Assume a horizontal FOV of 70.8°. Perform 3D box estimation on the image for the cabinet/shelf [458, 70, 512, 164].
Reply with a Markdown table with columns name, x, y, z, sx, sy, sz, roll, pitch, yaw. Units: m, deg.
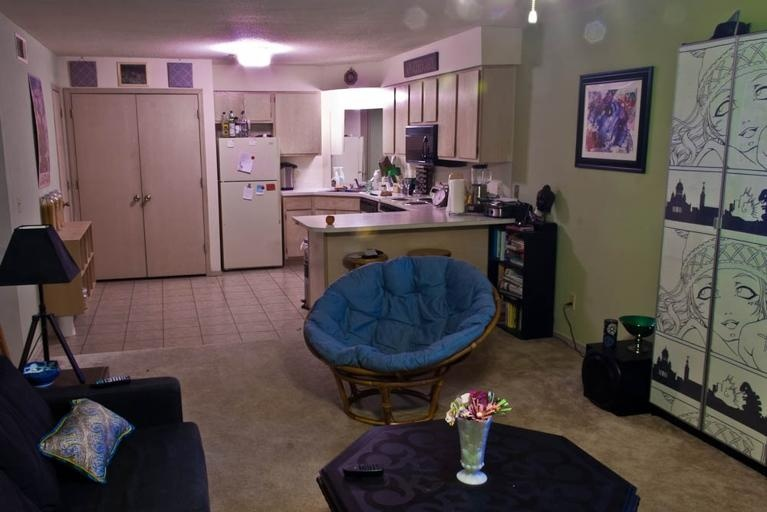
| name | x | y | z | sx | sy | sz | roll | pitch | yaw |
| --- | --- | --- | --- | --- | --- | --- | --- | --- | --- |
| cabinet/shelf | 1.142 | -1.621 | 6.209 | 0.705 | 1.052 | 0.409 | 3 | 12 | 19 |

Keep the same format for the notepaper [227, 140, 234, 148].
| name | x | y | z | sx | sy | sz | roll | pitch | yaw |
| --- | --- | --- | --- | --- | --- | --- | --- | --- | --- |
| notepaper | -2.254 | -1.654 | 7.945 | 0.099 | 0.107 | 0.125 | -1 | -17 | -3 |

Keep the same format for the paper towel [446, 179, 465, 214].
| name | x | y | z | sx | sy | sz | roll | pitch | yaw |
| --- | --- | --- | --- | --- | --- | --- | --- | --- | --- |
| paper towel | 0.861 | -0.683 | 6.310 | 0.214 | 0.373 | 0.316 | 8 | -2 | -10 |

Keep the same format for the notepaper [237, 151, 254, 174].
| name | x | y | z | sx | sy | sz | roll | pitch | yaw |
| --- | --- | --- | --- | --- | --- | --- | --- | --- | --- |
| notepaper | -2.074 | -1.404 | 8.023 | 0.296 | 0.409 | 0.041 | 6 | 7 | -14 |

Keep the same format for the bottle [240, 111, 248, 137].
| name | x | y | z | sx | sy | sz | roll | pitch | yaw |
| --- | --- | --- | --- | --- | --- | --- | --- | --- | --- |
| bottle | -2.098 | -1.953 | 8.094 | 0.119 | 0.301 | 0.114 | -1 | 11 | 0 |

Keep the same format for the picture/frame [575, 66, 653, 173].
| name | x | y | z | sx | sy | sz | roll | pitch | yaw |
| --- | --- | --- | --- | --- | --- | --- | --- | --- | --- |
| picture/frame | 2.080 | -1.225 | 4.920 | 0.090 | 0.884 | 0.798 | -6 | 12 | -25 |

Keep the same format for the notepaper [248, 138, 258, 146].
| name | x | y | z | sx | sy | sz | roll | pitch | yaw |
| --- | --- | --- | --- | --- | --- | --- | --- | --- | --- |
| notepaper | -1.951 | -1.702 | 8.023 | 0.100 | 0.099 | 0.069 | 0 | 0 | -8 |

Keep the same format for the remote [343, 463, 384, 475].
| name | x | y | z | sx | sy | sz | roll | pitch | yaw |
| --- | --- | --- | --- | --- | --- | --- | --- | --- | --- |
| remote | -0.117 | 1.154 | 2.932 | 0.163 | 0.038 | 0.079 | 0 | 5 | -2 |

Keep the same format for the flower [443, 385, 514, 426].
| name | x | y | z | sx | sy | sz | roll | pitch | yaw |
| --- | --- | --- | --- | --- | --- | --- | --- | --- | --- |
| flower | 0.539 | 0.823 | 3.057 | 0.337 | 0.166 | 0.338 | 2 | 1 | 17 |

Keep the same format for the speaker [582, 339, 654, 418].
| name | x | y | z | sx | sy | sz | roll | pitch | yaw |
| --- | --- | --- | --- | --- | --- | --- | --- | --- | --- |
| speaker | 1.870 | 0.951 | 4.470 | 0.560 | 0.548 | 0.542 | -2 | 7 | -14 |

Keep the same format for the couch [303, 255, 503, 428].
| name | x | y | z | sx | sy | sz | roll | pitch | yaw |
| --- | --- | --- | --- | --- | --- | --- | --- | --- | --- |
| couch | 0.157 | 0.647 | 4.357 | 1.538 | 1.116 | 1.017 | -2 | 11 | -8 |

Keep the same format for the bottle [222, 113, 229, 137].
| name | x | y | z | sx | sy | sz | roll | pitch | yaw |
| --- | --- | --- | --- | --- | --- | --- | --- | --- | --- |
| bottle | -2.378 | -1.966 | 8.096 | 0.103 | 0.329 | 0.227 | -4 | 12 | -15 |

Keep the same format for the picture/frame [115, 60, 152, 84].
| name | x | y | z | sx | sy | sz | roll | pitch | yaw |
| --- | --- | --- | --- | --- | --- | --- | --- | --- | --- |
| picture/frame | -3.519 | -2.586 | 7.528 | 0.348 | 0.300 | 0.028 | 0 | 6 | -19 |

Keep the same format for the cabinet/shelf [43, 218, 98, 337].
| name | x | y | z | sx | sy | sz | roll | pitch | yaw |
| --- | --- | --- | --- | --- | --- | --- | --- | --- | --- |
| cabinet/shelf | -3.022 | 0.236 | 5.205 | 0.315 | 0.638 | 1.200 | -2 | 20 | -14 |

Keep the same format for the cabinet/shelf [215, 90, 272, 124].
| name | x | y | z | sx | sy | sz | roll | pitch | yaw |
| --- | --- | --- | --- | --- | --- | --- | --- | --- | --- |
| cabinet/shelf | -2.202 | -2.368 | 8.528 | 0.896 | 0.456 | 0.186 | -4 | 12 | -17 |

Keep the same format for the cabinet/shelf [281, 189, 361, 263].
| name | x | y | z | sx | sy | sz | roll | pitch | yaw |
| --- | --- | --- | --- | --- | --- | --- | --- | --- | --- |
| cabinet/shelf | -1.218 | -0.730 | 8.844 | 1.568 | 1.479 | 0.945 | -2 | 6 | -18 |

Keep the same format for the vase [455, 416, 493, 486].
| name | x | y | z | sx | sy | sz | roll | pitch | yaw |
| --- | --- | --- | --- | --- | --- | --- | --- | --- | --- |
| vase | 0.482 | 1.049 | 2.960 | 0.217 | 0.341 | 0.204 | 9 | -8 | -39 |

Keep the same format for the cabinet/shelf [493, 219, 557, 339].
| name | x | y | z | sx | sy | sz | roll | pitch | yaw |
| --- | --- | --- | --- | --- | --- | --- | --- | --- | --- |
| cabinet/shelf | 1.459 | 0.225 | 5.832 | 0.390 | 1.240 | 0.704 | -11 | 15 | -41 |
